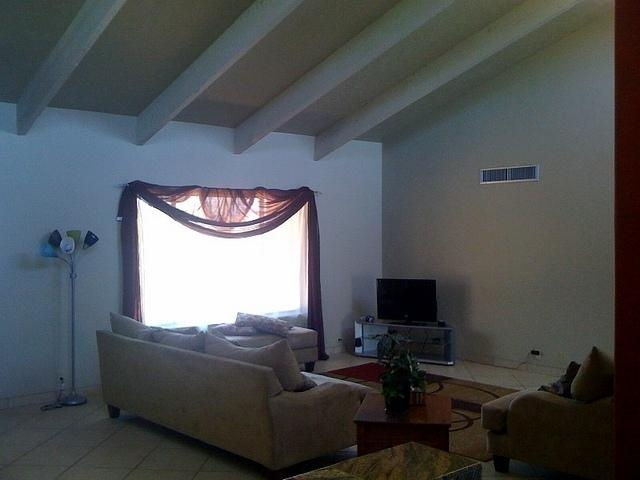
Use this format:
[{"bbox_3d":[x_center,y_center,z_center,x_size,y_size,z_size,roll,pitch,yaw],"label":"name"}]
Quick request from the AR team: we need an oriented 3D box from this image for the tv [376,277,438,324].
[{"bbox_3d":[1.399,0.971,7.737,0.700,0.519,0.186,0,0,21],"label":"tv"}]

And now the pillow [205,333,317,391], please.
[{"bbox_3d":[-0.561,1.034,4.229,0.947,0.450,0.460,1,2,35],"label":"pillow"}]

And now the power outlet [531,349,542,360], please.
[{"bbox_3d":[3.054,1.612,6.879,0.080,0.143,0.149,5,-6,-40],"label":"power outlet"}]

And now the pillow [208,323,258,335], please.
[{"bbox_3d":[-1.201,1.216,6.546,0.422,0.136,0.438,3,-3,-2],"label":"pillow"}]

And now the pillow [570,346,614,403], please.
[{"bbox_3d":[2.078,0.989,3.822,0.183,0.398,0.405,17,43,40],"label":"pillow"}]

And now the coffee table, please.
[{"bbox_3d":[0.613,1.384,3.698,0.520,0.520,0.532,1,-3,-32],"label":"coffee table"}]

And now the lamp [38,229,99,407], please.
[{"bbox_3d":[-2.961,0.896,5.824,0.624,2.032,0.545,-1,3,-25],"label":"lamp"}]

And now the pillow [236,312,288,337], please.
[{"bbox_3d":[-0.795,1.154,6.813,0.556,0.179,0.334,14,9,10],"label":"pillow"}]
